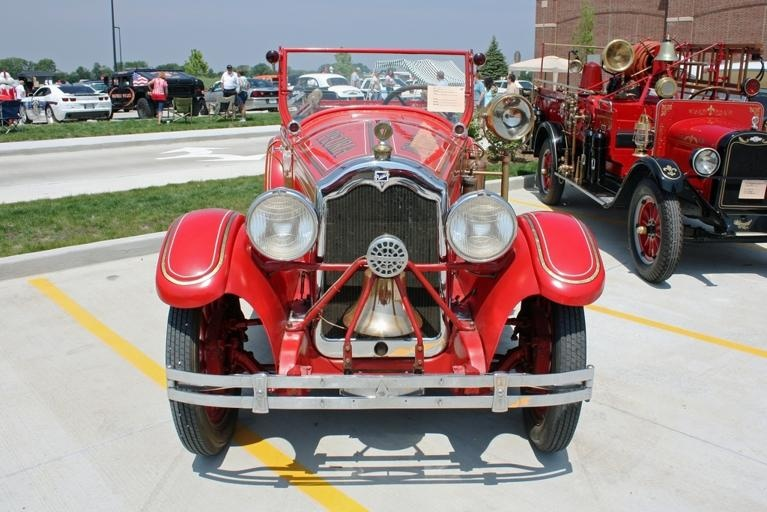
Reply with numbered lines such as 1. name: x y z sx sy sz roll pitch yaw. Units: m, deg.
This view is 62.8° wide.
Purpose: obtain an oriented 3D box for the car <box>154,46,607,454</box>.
1. car: -0.033 -0.139 5.392 3.221 3.164 2.309 -2 19 -1

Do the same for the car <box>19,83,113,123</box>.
1. car: -11.538 -5.542 22.902 3.066 1.349 1.311 7 21 23

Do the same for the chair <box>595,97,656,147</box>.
1. chair: 3.657 -1.942 9.171 0.551 0.668 0.913 -3 15 -4
